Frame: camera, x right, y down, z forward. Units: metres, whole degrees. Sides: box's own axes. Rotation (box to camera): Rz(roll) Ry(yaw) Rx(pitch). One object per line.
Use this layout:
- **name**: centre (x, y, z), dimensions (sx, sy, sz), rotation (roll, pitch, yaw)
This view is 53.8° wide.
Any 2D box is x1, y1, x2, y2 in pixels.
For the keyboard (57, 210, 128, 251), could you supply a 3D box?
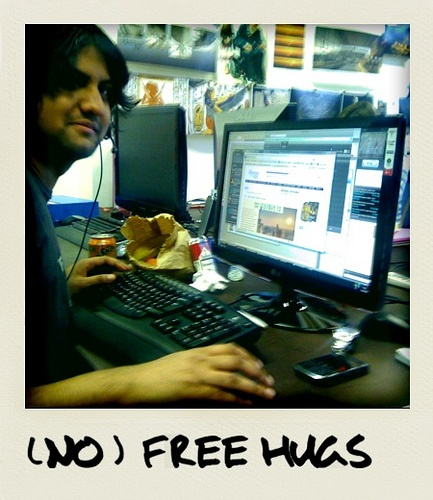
- **keyboard**: centre (-0.439, -0.074, 1.485), dimensions (0.160, 0.041, 0.229), rotation (1, 20, -38)

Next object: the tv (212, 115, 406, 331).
- **tv**: centre (0.152, -0.057, 0.803), dimensions (0.228, 0.359, 0.428), rotation (-8, 15, -32)

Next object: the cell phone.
- **cell phone**: centre (0.164, 0.169, 0.611), dimensions (0.101, 0.019, 0.061), rotation (-3, 14, -20)
